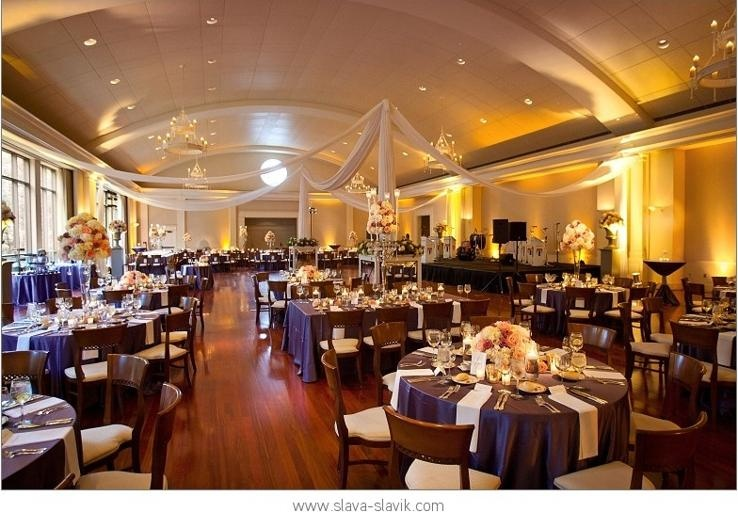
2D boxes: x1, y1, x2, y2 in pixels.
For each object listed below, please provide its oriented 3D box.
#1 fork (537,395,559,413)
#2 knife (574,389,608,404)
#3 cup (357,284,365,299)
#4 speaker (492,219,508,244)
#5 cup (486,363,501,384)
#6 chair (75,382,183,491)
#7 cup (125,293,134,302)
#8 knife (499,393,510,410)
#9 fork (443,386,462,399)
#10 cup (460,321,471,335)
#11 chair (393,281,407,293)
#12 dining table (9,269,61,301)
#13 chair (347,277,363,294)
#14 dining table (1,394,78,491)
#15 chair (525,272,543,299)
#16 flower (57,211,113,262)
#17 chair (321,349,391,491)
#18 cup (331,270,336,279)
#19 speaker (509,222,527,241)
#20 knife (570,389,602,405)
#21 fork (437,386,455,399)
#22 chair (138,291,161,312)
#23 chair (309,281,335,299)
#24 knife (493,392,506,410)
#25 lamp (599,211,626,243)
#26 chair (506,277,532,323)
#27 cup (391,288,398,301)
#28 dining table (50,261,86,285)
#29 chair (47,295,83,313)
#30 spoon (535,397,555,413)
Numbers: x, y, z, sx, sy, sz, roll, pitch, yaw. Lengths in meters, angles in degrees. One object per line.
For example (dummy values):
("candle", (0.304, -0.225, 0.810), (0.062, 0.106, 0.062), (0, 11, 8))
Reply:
("fork", (1.527, 1.279, 4.350), (0.061, 0.042, 0.237), (0, 12, -4))
("knife", (1.942, 1.242, 4.479), (0.082, 0.014, 0.329), (-10, 6, -14))
("cup", (-0.125, 0.558, 7.742), (0.125, 0.223, 0.121), (0, 6, 0))
("speaker", (4.653, -0.896, 17.968), (0.575, 0.975, 1.272), (0, -2, 14))
("cup", (1.158, 1.100, 4.720), (0.132, 0.139, 0.151), (-1, -5, 21))
("chair", (-1.947, 1.549, 4.221), (0.745, 0.877, 0.406), (0, -2, 0))
("cup", (-3.234, 0.558, 6.857), (0.099, 0.113, 0.165), (1, -2, -27))
("knife", (1.172, 1.268, 4.409), (0.041, 0.024, 0.295), (-5, 17, 24))
("fork", (0.736, 1.227, 4.558), (0.060, 0.036, 0.238), (8, 13, 27))
("cup", (1.022, 0.764, 5.397), (0.125, 0.155, 0.135), (1, -2, 0))
("chair", (0.549, 0.538, 8.867), (0.159, 0.221, 0.180), (1, -2, -6))
("dining table", (-7.363, 0.644, 11.144), (0.723, 0.604, 0.768), (0, 1, -3))
("chair", (-0.283, 0.525, 9.239), (0.213, 0.413, 0.225), (-1, 2, -37))
("dining table", (-2.584, 1.487, 4.010), (0.460, 0.253, 0.493), (7, 25, -10))
("chair", (3.080, 0.566, 9.503), (0.324, 0.506, 0.382), (-1, 5, 8))
("flower", (-3.579, -0.213, 6.737), (0.606, 0.835, 0.622), (1, -1, -7))
("chair", (-0.123, 1.563, 4.839), (0.637, 1.278, 0.695), (0, -2, -2))
("cup", (-0.893, 0.457, 12.882), (0.118, 0.210, 0.125), (-1, 5, 0))
("speaker", (4.929, -0.823, 16.861), (0.560, 0.789, 0.401), (0, -7, 2))
("knife", (1.935, 1.245, 4.473), (0.073, 0.013, 0.286), (-10, 8, -16))
("fork", (0.715, 1.228, 4.560), (0.057, 0.035, 0.224), (14, 23, 23))
("chair", (-3.539, 0.725, 8.251), (0.307, 0.227, 0.312), (-1, 4, -27))
("chair", (-0.811, 0.562, 8.886), (0.328, 0.405, 0.350), (0, 0, -2))
("knife", (1.145, 1.258, 4.411), (0.055, 0.012, 0.214), (-9, 11, 23))
("lamp", (6.067, -0.739, 12.768), (0.665, 1.021, 0.706), (0, 0, 2))
("chair", (2.872, 0.854, 9.718), (0.603, 0.935, 0.704), (-3, 6, 0))
("cup", (0.383, 0.600, 7.800), (0.113, 0.203, 0.121), (1, -2, 0))
("dining table", (-6.804, 0.389, 11.450), (0.573, 0.461, 0.604), (0, 3, -6))
("chair", (-4.173, 0.667, 7.005), (0.443, 0.354, 0.429), (4, -3, -43))
("spoon", (1.517, 1.283, 4.349), (0.051, 0.036, 0.202), (-4, 11, -3))
